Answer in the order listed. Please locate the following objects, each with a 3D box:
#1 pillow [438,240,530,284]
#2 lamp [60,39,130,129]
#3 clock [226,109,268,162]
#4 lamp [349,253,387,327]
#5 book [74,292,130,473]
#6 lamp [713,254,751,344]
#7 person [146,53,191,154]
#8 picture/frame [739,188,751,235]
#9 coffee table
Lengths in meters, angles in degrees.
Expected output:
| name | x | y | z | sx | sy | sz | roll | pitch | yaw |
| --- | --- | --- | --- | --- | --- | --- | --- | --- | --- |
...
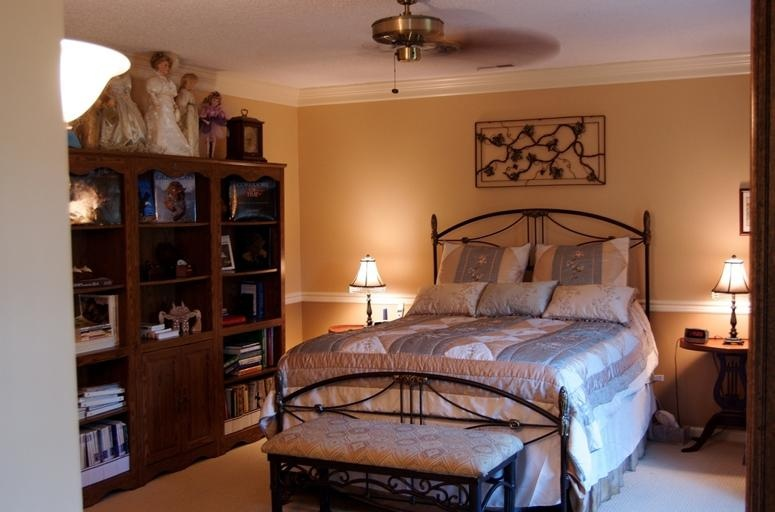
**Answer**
| name | x | y | z | sx | sy | sz | roll | pitch | yaw |
| --- | --- | --- | --- | --- | --- | --- | --- | --- | --- |
| pillow | 0.955 | 0.082 | 5.433 | 0.918 | 0.262 | 0.663 | 3 | -16 | 44 |
| lamp | -0.781 | -0.456 | 1.672 | 0.160 | 0.191 | 0.185 | -3 | 4 | -29 |
| clock | -1.193 | -0.976 | 5.219 | 0.275 | 0.345 | 0.290 | 6 | 9 | 26 |
| lamp | -0.180 | 0.324 | 5.772 | 0.449 | 0.612 | 0.447 | -4 | 3 | -38 |
| book | -1.907 | 0.814 | 4.170 | 0.276 | 1.097 | 0.327 | -2 | 5 | -23 |
| lamp | 2.631 | 0.319 | 4.799 | 0.237 | 0.634 | 0.346 | 2 | 5 | 27 |
| person | -1.651 | -1.129 | 4.685 | 0.205 | 0.747 | 0.370 | 2 | 5 | 26 |
| picture/frame | 2.810 | -0.350 | 4.884 | 0.020 | 0.387 | 0.342 | 0 | 4 | 39 |
| coffee table | 2.684 | 1.072 | 4.844 | 0.738 | 0.790 | 0.710 | 1 | -12 | 20 |
